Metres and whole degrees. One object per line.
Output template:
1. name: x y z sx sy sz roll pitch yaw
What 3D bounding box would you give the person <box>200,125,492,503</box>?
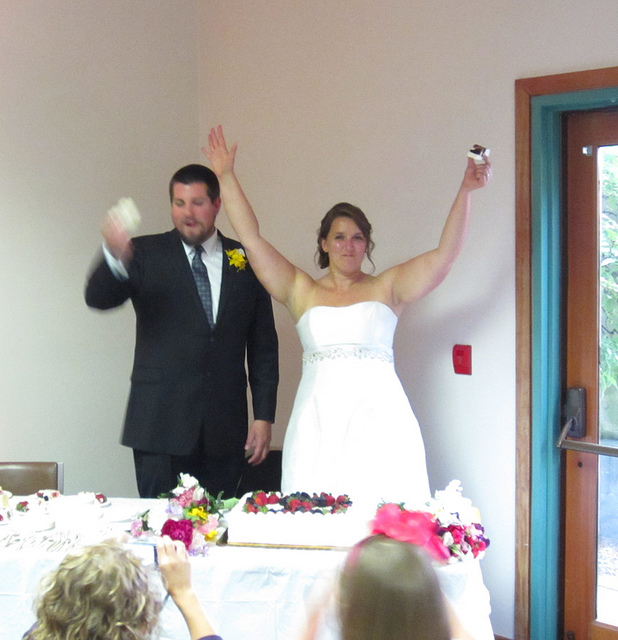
1. person: 0.174 0.146 2.775 0.900 1.880 0.442 -2 30 1

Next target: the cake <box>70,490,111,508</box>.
1. cake: -0.690 0.572 2.230 0.131 0.044 0.203 -4 -11 16

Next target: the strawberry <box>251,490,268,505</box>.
1. strawberry: -0.144 0.518 2.053 0.046 0.027 0.022 40 -4 38

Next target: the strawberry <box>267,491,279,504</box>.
1. strawberry: -0.100 0.514 2.044 0.019 0.033 0.021 8 -18 -20

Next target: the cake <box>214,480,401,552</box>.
1. cake: -0.001 0.601 2.221 0.512 0.167 0.694 -3 -11 12

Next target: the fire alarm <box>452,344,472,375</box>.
1. fire alarm: 0.709 0.183 3.250 0.090 0.138 0.029 -7 -10 38

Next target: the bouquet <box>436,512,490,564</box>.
1. bouquet: 0.402 0.564 1.827 0.105 0.061 0.121 4 15 -20

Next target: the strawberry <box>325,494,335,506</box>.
1. strawberry: 0.058 0.513 2.003 0.028 0.029 0.043 4 -11 -25

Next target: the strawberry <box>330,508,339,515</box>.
1. strawberry: 0.069 0.525 1.935 0.023 0.012 0.025 -2 -10 10

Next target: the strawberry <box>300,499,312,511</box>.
1. strawberry: -0.008 0.518 1.964 0.032 0.026 0.053 0 -10 -2

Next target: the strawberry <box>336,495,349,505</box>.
1. strawberry: 0.096 0.513 2.005 0.033 0.018 0.055 -1 -10 1

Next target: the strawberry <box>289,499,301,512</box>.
1. strawberry: -0.038 0.519 1.963 0.032 0.029 0.046 0 -10 -2

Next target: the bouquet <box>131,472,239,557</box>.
1. bouquet: -0.352 0.563 1.977 0.200 0.136 0.228 -24 20 0
